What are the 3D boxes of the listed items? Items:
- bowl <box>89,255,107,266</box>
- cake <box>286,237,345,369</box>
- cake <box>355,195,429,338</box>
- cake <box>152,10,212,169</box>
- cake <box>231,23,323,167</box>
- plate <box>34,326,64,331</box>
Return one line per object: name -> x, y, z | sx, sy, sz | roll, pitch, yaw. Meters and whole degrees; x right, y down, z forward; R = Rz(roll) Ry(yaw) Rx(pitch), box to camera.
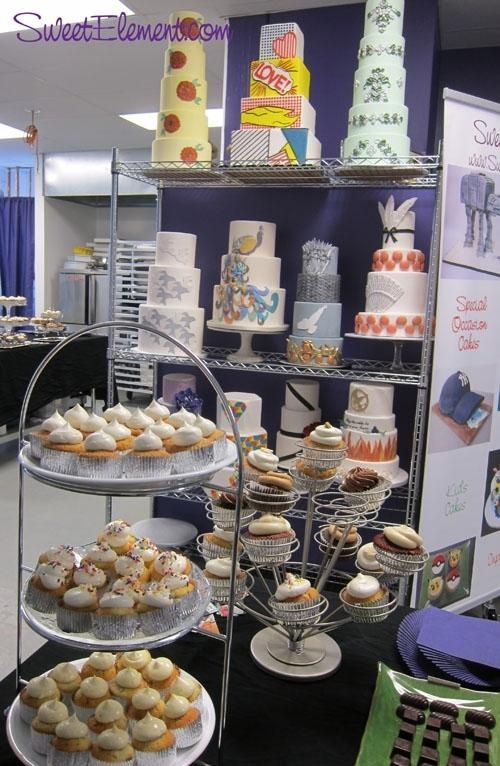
bowl -> -1.825, -1.444, 7.105 | 0.107, 0.143, 0.243 | -3, 2, 30
cake -> 0.249, -0.290, 2.227 | 0.188, 0.334, 0.223 | -3, 3, 40
cake -> 0.490, -0.400, 2.097 | 0.259, 0.505, 0.214 | -4, 2, 14
cake -> -0.279, -1.083, 2.273 | 0.234, 0.470, 0.223 | -5, 2, -3
cake -> 0.076, -1.013, 2.171 | 0.318, 0.384, 0.238 | -4, 2, 10
plate -> -1.802, -0.497, 5.350 | 0.135, 0.030, 0.132 | 3, 2, 5
